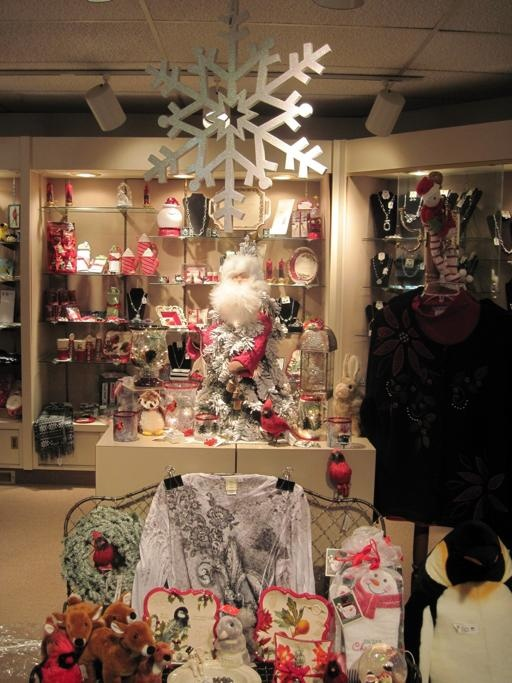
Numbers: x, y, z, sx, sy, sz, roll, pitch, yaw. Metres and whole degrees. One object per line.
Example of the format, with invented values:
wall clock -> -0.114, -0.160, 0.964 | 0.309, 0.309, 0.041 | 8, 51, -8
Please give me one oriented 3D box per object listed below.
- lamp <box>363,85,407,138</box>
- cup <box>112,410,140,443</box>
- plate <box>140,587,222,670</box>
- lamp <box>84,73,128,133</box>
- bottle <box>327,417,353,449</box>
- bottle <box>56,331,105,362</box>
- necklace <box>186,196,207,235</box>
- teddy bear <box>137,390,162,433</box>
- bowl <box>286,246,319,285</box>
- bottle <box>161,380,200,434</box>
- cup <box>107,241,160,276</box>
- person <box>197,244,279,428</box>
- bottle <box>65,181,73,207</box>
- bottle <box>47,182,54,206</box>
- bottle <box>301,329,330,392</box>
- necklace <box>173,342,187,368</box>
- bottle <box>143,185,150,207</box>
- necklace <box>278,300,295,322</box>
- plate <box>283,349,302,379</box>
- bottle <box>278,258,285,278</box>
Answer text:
lamp -> 0.744, -1.396, 3.381 | 0.195, 0.263, 0.339 | -1, 0, 8
cup -> -0.534, 0.342, 2.367 | 0.120, 0.118, 0.118 | 0, 3, 0
plate -> -0.201, 0.768, 1.560 | 0.221, 0.203, 0.009 | 3, -3, 3
lamp -> -0.893, -1.405, 3.436 | 0.155, 0.285, 0.289 | -1, 0, 5
bottle -> 0.354, 0.385, 2.426 | 0.120, 0.123, 0.116 | 1, -2, -25
bottle -> -1.278, 0.036, 4.220 | 0.316, 0.206, 0.187 | 3, -3, -27
necklace -> -0.409, -0.882, 4.006 | 0.156, 0.277, 0.098 | -1, 0, -5
teddy bear -> -0.460, 0.312, 2.525 | 0.131, 0.189, 0.108 | -4, 5, -22
bowl -> 0.296, -0.519, 3.978 | 0.237, 0.238, 0.056 | 2, 11, 24
bottle -> -0.340, 0.293, 2.535 | 0.166, 0.214, 0.147 | 4, 0, 8
cup -> -0.901, -0.590, 4.130 | 0.336, 0.229, 0.233 | 4, 4, 27
person -> -0.081, 0.009, 2.488 | 0.363, 0.754, 0.197 | -1, 0, 0
bottle -> -1.349, -1.070, 4.152 | 0.055, 0.179, 0.183 | -1, 0, -18
bottle -> -1.479, -1.062, 4.127 | 0.052, 0.183, 0.190 | -1, 0, -20
bottle -> 0.260, 0.088, 2.586 | 0.128, 0.258, 0.220 | -1, 0, 5
necklace -> -0.470, 0.086, 3.619 | 0.091, 0.153, 0.041 | -1, 7, -12
bottle -> -0.792, -1.051, 4.153 | 0.046, 0.166, 0.155 | -1, 0, -11
necklace -> 0.205, -0.213, 3.941 | 0.144, 0.177, 0.050 | 0, 10, 6
plate -> 0.253, 0.145, 3.928 | 0.147, 0.180, 0.189 | -7, 9, 3
bottle -> 0.177, -0.517, 4.109 | 0.046, 0.129, 0.103 | -1, 0, 2
